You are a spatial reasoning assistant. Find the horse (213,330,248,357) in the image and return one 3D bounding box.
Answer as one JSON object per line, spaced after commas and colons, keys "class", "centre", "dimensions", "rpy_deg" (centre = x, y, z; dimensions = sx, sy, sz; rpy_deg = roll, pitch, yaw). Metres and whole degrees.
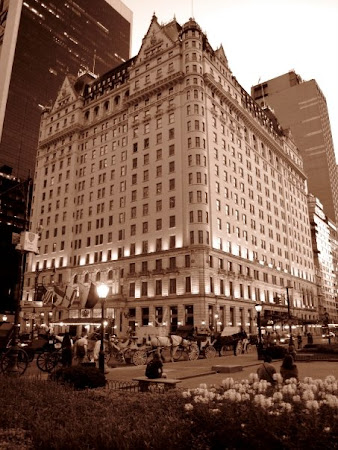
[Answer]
{"class": "horse", "centre": [4.921, 10.945, 35.171], "dimensions": [2.486, 2.967, 3.209], "rpy_deg": [-7, -15, 33]}
